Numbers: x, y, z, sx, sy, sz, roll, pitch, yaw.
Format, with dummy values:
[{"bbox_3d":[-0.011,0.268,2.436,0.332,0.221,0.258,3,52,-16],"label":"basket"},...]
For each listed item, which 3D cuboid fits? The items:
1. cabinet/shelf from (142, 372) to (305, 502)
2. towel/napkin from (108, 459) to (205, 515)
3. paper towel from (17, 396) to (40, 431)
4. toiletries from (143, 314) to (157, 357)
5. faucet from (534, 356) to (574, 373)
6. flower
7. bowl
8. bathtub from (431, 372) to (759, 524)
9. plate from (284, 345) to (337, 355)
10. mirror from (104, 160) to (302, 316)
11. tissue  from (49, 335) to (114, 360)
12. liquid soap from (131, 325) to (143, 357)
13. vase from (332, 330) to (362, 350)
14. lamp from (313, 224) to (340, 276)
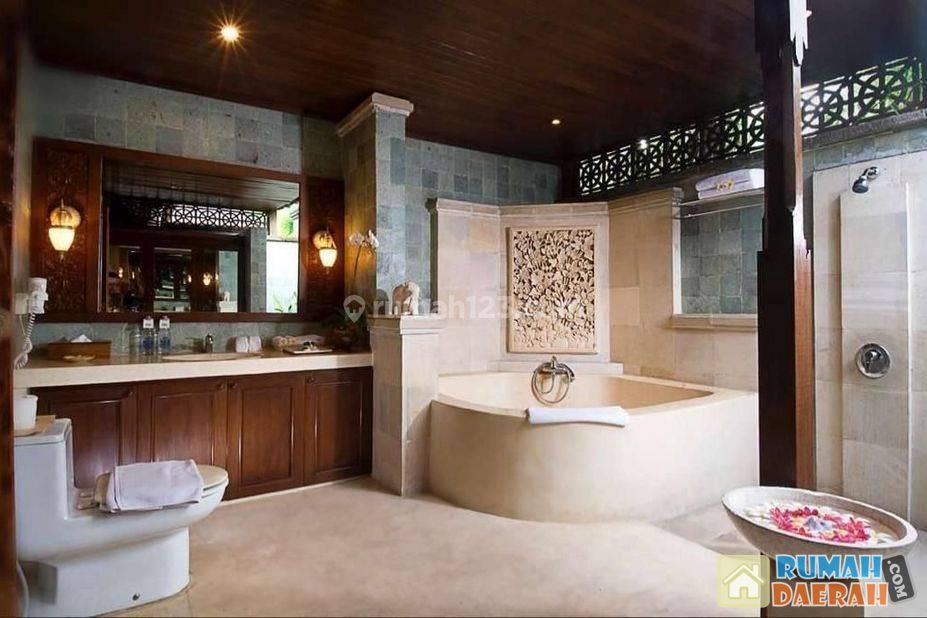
[{"bbox_3d":[-1.785,0.905,4.721,0.938,0.835,0.371,1,-3,-30],"label":"cabinet/shelf"},{"bbox_3d":[-1.816,1.038,3.859,0.314,0.105,0.328,1,5,-32],"label":"towel/napkin"},{"bbox_3d":[-2.539,0.604,3.805,0.100,0.199,0.183,-1,-1,-35],"label":"paper towel"},{"bbox_3d":[-2.492,0.208,5.187,0.098,0.306,0.086,-1,-1,-28],"label":"toiletries"},{"bbox_3d":[0.839,0.496,6.062,0.209,0.114,0.208,-1,1,-41],"label":"faucet"},{"bbox_3d":[-0.990,-0.201,5.623,0.330,0.884,0.649,-1,-1,-31],"label":"flower"},{"bbox_3d":[1.643,1.079,3.058,0.725,0.277,0.771,2,3,0],"label":"bowl"},{"bbox_3d":[0.983,1.048,5.380,2.548,0.781,1.666,-1,-1,-4],"label":"bathtub"},{"bbox_3d":[-1.264,0.335,5.382,0.409,0.063,0.369,-1,-1,-15],"label":"plate"},{"bbox_3d":[-2.205,-0.570,5.336,1.256,1.078,0.095,2,-5,-30],"label":"mirror"},{"bbox_3d":[-2.874,0.291,4.919,0.442,0.177,0.327,-1,-1,-34],"label":"tissue "},{"bbox_3d":[-2.589,0.244,5.177,0.101,0.236,0.046,-1,-1,-21],"label":"liquid soap"},{"bbox_3d":[-1.000,0.245,5.603,0.182,0.123,0.182,2,1,36],"label":"vase"},{"bbox_3d":[-1.205,-0.507,5.860,0.214,0.412,0.163,-1,-4,-27],"label":"lamp"}]
